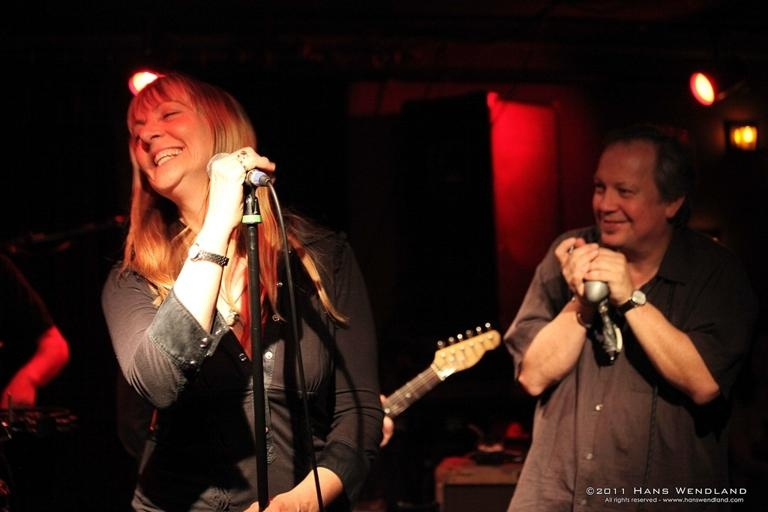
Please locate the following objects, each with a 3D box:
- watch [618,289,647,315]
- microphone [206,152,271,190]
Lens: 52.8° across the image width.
[{"bbox_3d":[1.034,0.188,3.209,0.070,0.045,0.066,-37,-2,-44],"label":"watch"},{"bbox_3d":[-0.511,-0.318,2.797,0.245,0.150,0.205,1,-2,1],"label":"microphone"}]
